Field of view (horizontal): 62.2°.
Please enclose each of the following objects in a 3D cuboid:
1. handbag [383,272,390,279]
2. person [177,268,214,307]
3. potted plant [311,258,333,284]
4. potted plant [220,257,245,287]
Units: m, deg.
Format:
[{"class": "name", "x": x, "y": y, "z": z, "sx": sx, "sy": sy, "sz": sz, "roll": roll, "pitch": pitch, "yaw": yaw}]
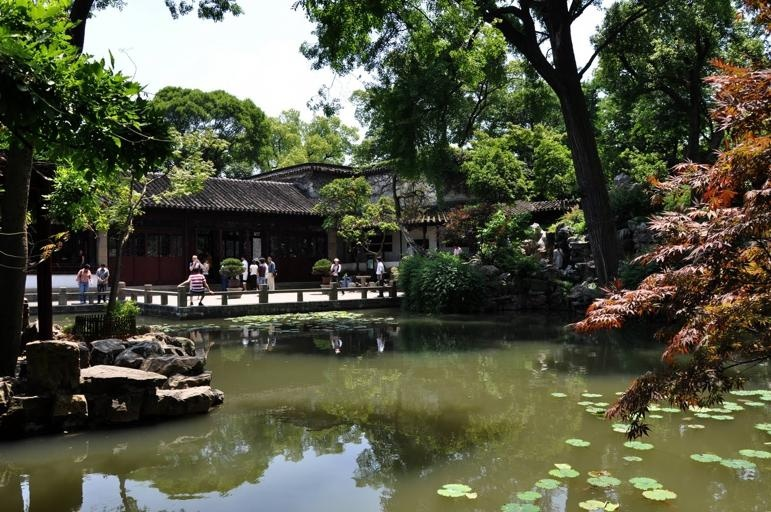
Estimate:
[{"class": "handbag", "x": 0.027, "y": 0.782, "z": 26.000, "sx": 0.138, "sy": 0.242, "sz": 0.256, "roll": -16, "pitch": -19, "yaw": 41}, {"class": "person", "x": -5.154, "y": 0.801, "z": 17.254, "sx": 0.590, "sy": 1.069, "sz": 0.705, "roll": -13, "pitch": -13, "yaw": 42}, {"class": "potted plant", "x": -2.430, "y": 0.570, "z": 24.578, "sx": 0.922, "sy": 1.004, "sz": 0.972, "roll": 2, "pitch": -6, "yaw": -19}, {"class": "potted plant", "x": -5.226, "y": 0.519, "z": 21.399, "sx": 0.961, "sy": 1.190, "sz": 0.897, "roll": 4, "pitch": -6, "yaw": -43}]
